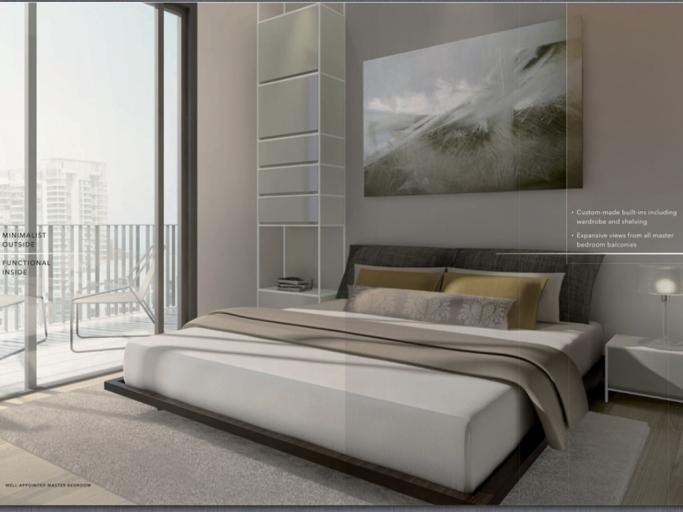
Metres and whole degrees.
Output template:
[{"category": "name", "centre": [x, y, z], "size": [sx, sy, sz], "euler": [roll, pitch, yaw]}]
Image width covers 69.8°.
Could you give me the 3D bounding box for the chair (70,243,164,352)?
[{"category": "chair", "centre": [-1.519, 0.234, 3.680], "size": [0.642, 0.871, 0.512], "euler": [5, 15, 10]}]

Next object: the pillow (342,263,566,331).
[{"category": "pillow", "centre": [0.524, 0.178, 2.224], "size": [0.894, 0.250, 0.074], "euler": [2, 8, 22]}]

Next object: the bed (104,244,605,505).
[{"category": "bed", "centre": [0.181, 0.592, 2.240], "size": [1.380, 0.522, 1.294], "euler": [0, 1, 39]}]
